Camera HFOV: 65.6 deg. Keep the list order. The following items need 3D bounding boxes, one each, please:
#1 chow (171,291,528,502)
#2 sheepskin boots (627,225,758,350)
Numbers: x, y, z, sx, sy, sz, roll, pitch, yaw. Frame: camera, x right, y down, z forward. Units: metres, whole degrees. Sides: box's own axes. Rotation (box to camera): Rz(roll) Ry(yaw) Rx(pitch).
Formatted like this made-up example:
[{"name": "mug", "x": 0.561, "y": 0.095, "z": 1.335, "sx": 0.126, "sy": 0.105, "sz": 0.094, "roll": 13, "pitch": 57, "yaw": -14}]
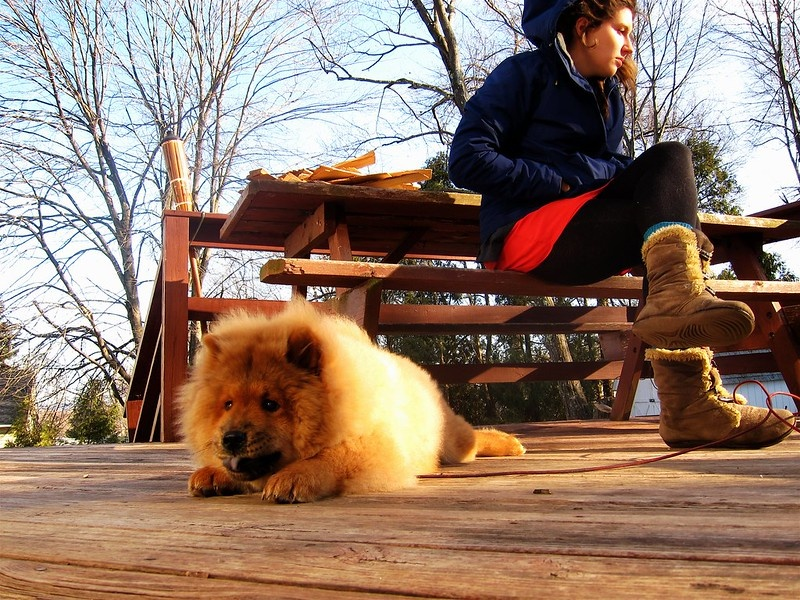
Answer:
[{"name": "chow", "x": -0.232, "y": 0.375, "z": 2.188, "sx": 0.568, "sy": 0.412, "sz": 0.994, "roll": -14, "pitch": -20, "yaw": 34}, {"name": "sheepskin boots", "x": 1.116, "y": -0.070, "z": 2.447, "sx": 0.167, "sy": 0.518, "sz": 0.444, "roll": 5, "pitch": -15, "yaw": -26}]
